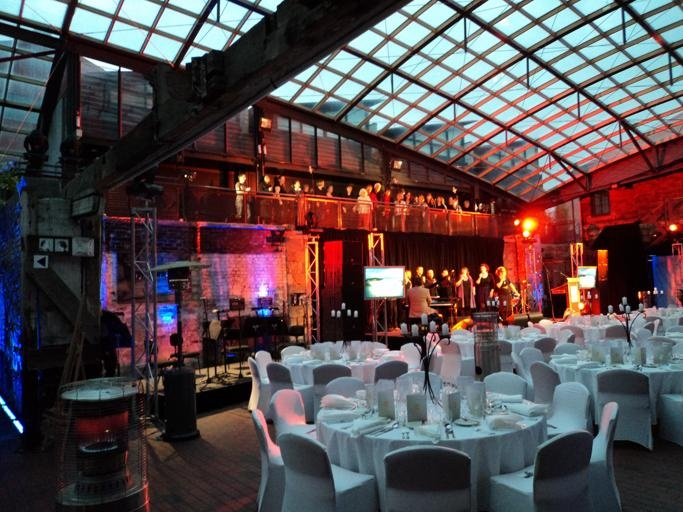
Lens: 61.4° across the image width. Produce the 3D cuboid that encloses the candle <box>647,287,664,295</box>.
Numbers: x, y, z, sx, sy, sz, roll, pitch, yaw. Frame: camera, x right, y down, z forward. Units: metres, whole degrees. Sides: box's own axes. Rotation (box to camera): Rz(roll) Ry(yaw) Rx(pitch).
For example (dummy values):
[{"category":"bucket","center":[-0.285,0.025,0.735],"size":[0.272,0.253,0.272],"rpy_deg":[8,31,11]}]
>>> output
[{"category":"candle","center":[11.453,1.278,20.997],"size":[0.296,0.261,0.305],"rpy_deg":[-4,-6,39]}]

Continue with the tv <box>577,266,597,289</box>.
[{"category":"tv","center":[8.610,0.713,20.330],"size":[0.690,0.846,0.120],"rpy_deg":[5,-14,0]}]
